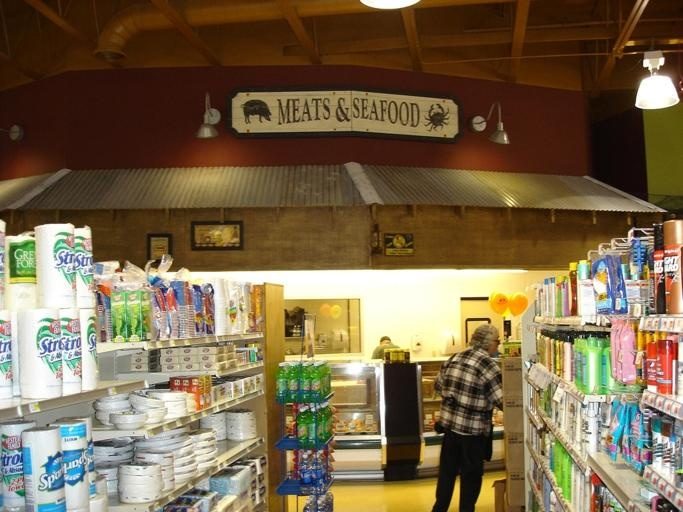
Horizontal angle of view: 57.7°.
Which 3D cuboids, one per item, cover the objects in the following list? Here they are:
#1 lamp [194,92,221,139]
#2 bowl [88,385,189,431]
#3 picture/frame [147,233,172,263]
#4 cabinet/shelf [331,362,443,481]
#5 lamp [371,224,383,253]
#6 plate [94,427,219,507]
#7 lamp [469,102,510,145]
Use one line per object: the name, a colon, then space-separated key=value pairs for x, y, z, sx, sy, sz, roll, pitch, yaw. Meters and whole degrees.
lamp: x=-1.867 y=-2.005 z=8.769 sx=0.326 sy=0.776 sz=0.744 roll=0 pitch=-2 yaw=-11
bowl: x=-1.324 y=0.975 z=4.061 sx=0.411 sy=0.228 sz=0.691 roll=-1 pitch=-2 yaw=16
picture/frame: x=-2.384 y=-0.116 z=8.122 sx=0.405 sy=0.449 sz=0.049 roll=0 pitch=-5 yaw=-3
cabinet/shelf: x=0.541 y=2.125 z=8.626 sx=1.369 sy=1.670 sz=2.220 roll=0 pitch=-2 yaw=-10
lamp: x=0.502 y=-0.236 z=8.609 sx=0.160 sy=0.427 sz=0.110 roll=-1 pitch=-2 yaw=1
plate: x=-1.257 y=1.355 z=4.178 sx=0.471 sy=0.388 sz=0.926 roll=-1 pitch=-2 yaw=14
lamp: x=2.282 y=-2.054 z=9.515 sx=0.578 sy=0.805 sz=0.935 roll=-1 pitch=-2 yaw=15
